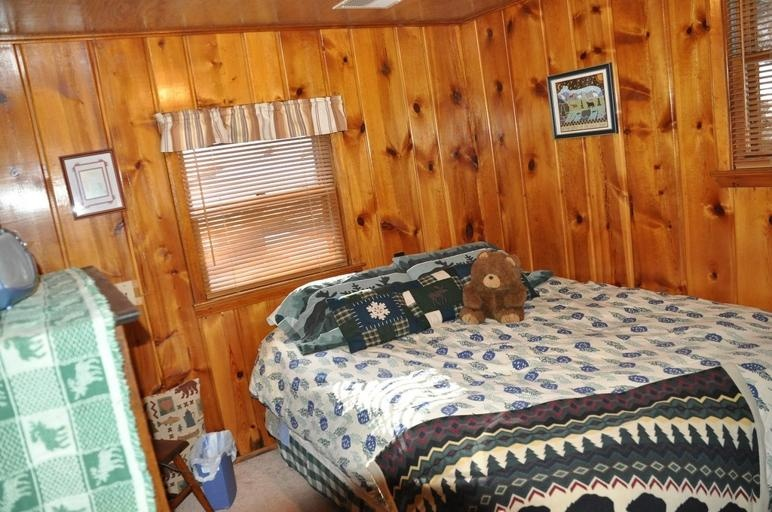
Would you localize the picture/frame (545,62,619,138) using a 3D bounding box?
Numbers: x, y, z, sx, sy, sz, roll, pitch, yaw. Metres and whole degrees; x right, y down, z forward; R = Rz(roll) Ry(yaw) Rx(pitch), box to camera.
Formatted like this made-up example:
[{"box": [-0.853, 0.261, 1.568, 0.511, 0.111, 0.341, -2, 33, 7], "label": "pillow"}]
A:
[{"box": [1.283, -1.013, 3.891, 0.032, 0.416, 0.542, -16, 14, -23], "label": "picture/frame"}]

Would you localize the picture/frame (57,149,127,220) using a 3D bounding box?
[{"box": [-1.792, -0.435, 3.553, 0.406, 0.407, 0.034, -21, 17, -28], "label": "picture/frame"}]

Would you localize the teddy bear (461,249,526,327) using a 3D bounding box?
[{"box": [0.694, 0.165, 3.763, 0.570, 0.505, 0.426, 2, 10, 15], "label": "teddy bear"}]
